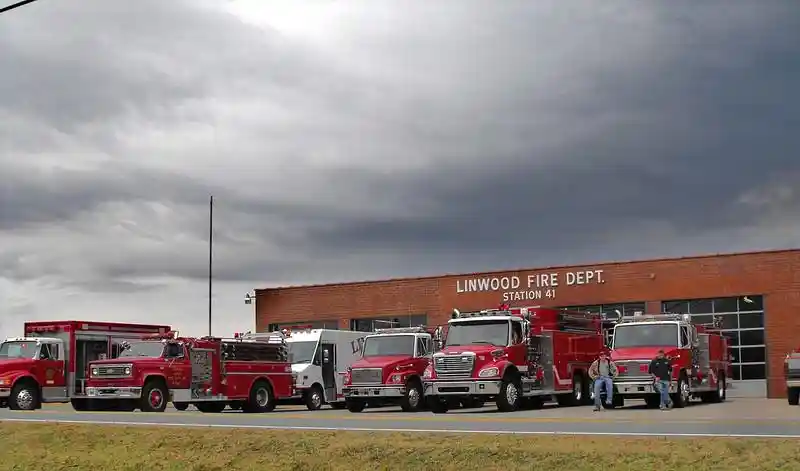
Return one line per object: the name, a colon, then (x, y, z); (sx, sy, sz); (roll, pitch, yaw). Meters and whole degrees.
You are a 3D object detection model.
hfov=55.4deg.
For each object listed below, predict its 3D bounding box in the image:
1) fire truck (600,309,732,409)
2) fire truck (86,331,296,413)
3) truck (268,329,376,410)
fire truck: (12.233, 5.699, 35.149); (3.895, 3.733, 9.477); (-4, -11, 35)
fire truck: (-8.547, 5.812, 32.160); (7.643, 3.232, 1.729); (5, -16, -31)
truck: (-4.096, 6.082, 35.554); (2.894, 2.409, 4.637); (-4, -9, 29)
